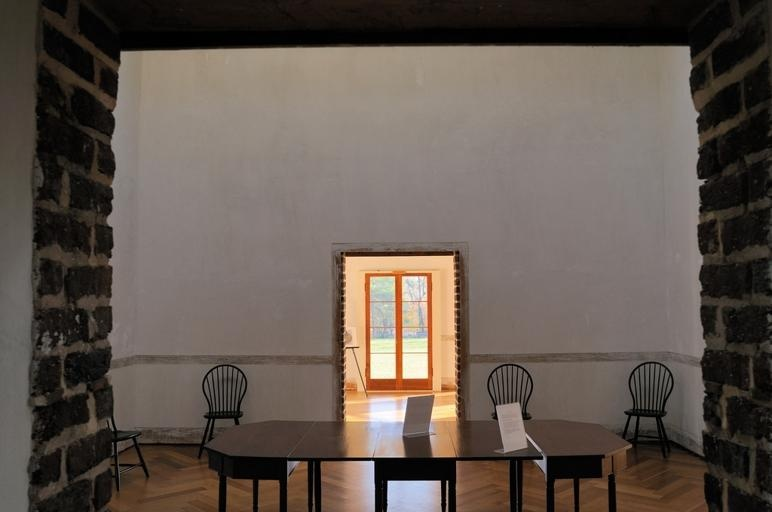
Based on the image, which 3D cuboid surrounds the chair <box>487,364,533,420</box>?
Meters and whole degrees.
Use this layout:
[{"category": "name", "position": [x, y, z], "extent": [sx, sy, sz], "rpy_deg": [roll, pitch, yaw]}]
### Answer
[{"category": "chair", "position": [1.471, 1.809, 7.616], "extent": [0.575, 1.006, 0.667], "rpy_deg": [-3, -11, 14]}]

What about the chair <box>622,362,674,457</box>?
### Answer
[{"category": "chair", "position": [2.964, 1.717, 7.253], "extent": [0.570, 0.989, 0.675], "rpy_deg": [-4, -6, 26]}]

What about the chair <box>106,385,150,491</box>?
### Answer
[{"category": "chair", "position": [-2.691, 1.972, 6.711], "extent": [0.388, 0.702, 1.391], "rpy_deg": [1, -6, -23]}]
